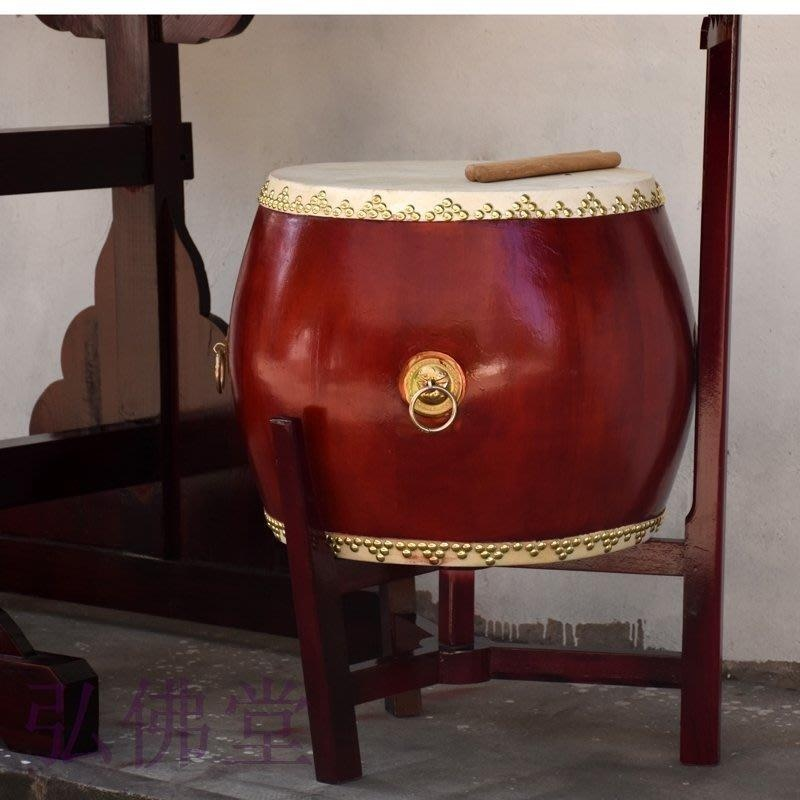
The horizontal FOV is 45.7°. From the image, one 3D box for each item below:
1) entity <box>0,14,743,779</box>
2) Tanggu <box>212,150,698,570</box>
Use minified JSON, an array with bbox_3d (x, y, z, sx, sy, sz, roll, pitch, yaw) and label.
[{"bbox_3d":[0.080,0.068,1.516,0.898,1.370,0.840,3,8,29],"label":"entity"},{"bbox_3d":[0.112,-0.045,1.050,0.433,0.397,0.481,-4,-1,6],"label":"Tanggu"}]
